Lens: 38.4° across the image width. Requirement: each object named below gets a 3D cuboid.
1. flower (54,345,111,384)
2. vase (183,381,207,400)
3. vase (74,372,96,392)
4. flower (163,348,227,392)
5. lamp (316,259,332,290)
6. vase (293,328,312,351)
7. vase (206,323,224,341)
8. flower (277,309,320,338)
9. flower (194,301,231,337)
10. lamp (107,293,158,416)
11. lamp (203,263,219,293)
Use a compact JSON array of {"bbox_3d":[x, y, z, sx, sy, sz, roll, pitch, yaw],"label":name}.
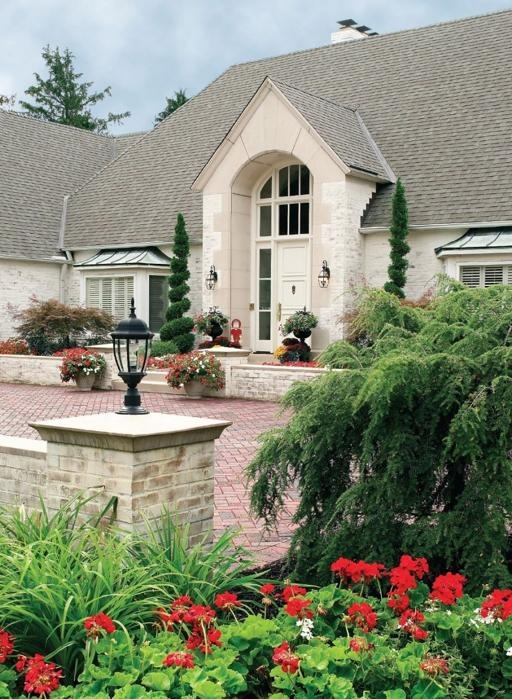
[{"bbox_3d":[-3.948,0.370,16.678,0.914,0.561,0.845,-1,3,-8],"label":"flower"},{"bbox_3d":[-1.262,0.858,15.003,0.443,0.290,0.410,0,-2,-4],"label":"vase"},{"bbox_3d":[-3.875,0.762,16.607,0.445,0.325,0.413,0,-3,0],"label":"vase"},{"bbox_3d":[-1.226,0.403,15.046,0.953,0.601,0.879,1,-1,-11],"label":"flower"},{"bbox_3d":[1.577,-1.769,17.193,0.253,0.611,0.258,3,1,-42],"label":"lamp"},{"bbox_3d":[1.116,-0.242,17.310,0.526,0.497,0.478,0,-1,-2],"label":"vase"},{"bbox_3d":[-1.023,-0.433,18.466,0.477,0.655,0.442,-1,4,-19],"label":"vase"},{"bbox_3d":[1.017,-0.592,17.333,0.739,0.446,0.709,1,7,24],"label":"flower"},{"bbox_3d":[-1.102,-0.708,18.811,0.832,0.754,0.822,2,-1,0],"label":"flower"},{"bbox_3d":[-0.740,0.052,4.569,0.311,0.704,0.278,0,2,-12],"label":"lamp"},{"bbox_3d":[-1.153,-1.828,18.952,0.204,0.591,0.346,3,1,-33],"label":"lamp"}]
